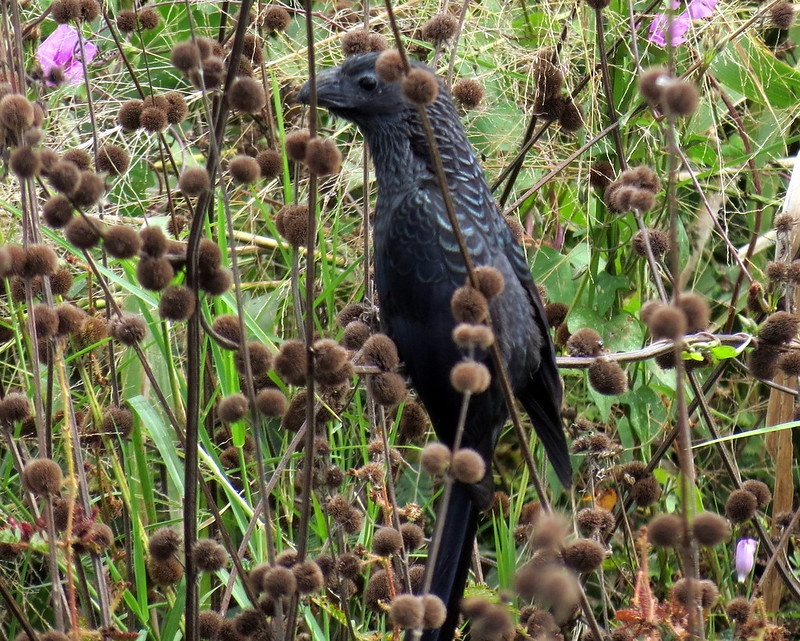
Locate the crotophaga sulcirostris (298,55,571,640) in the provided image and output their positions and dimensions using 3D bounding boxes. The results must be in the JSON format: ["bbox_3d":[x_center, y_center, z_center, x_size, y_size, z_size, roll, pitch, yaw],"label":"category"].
[{"bbox_3d":[0.139,-0.036,5.063,0.898,1.686,0.743,2,8,6],"label":"crotophaga sulcirostris"}]
